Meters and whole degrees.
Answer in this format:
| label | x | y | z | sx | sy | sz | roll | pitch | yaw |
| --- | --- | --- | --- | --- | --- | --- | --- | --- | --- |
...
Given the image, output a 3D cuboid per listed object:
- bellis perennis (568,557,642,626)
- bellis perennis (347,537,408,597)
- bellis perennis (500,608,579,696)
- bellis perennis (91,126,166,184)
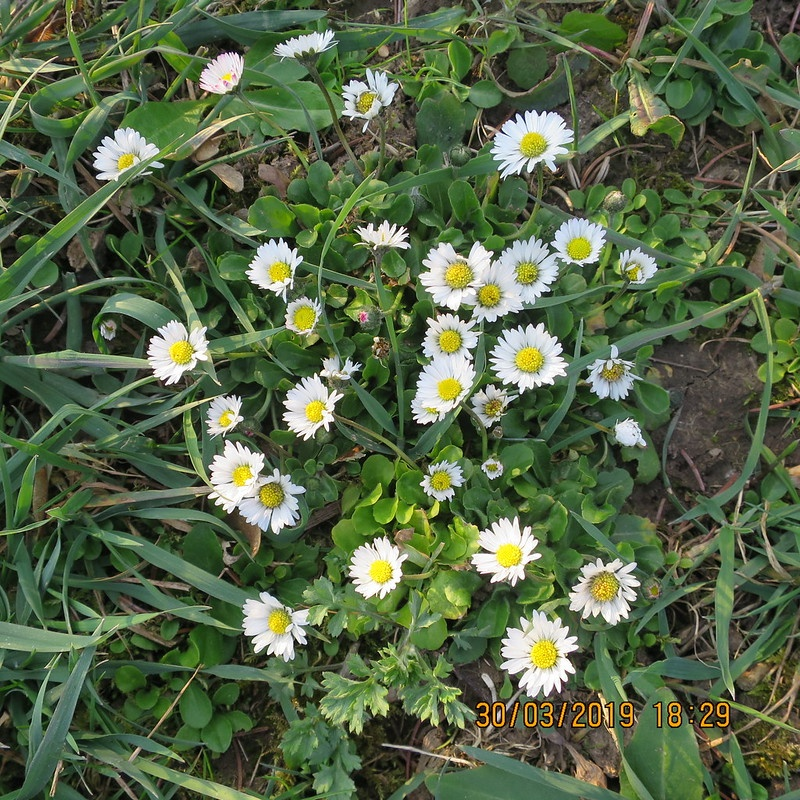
| label | x | y | z | sx | sy | sz | roll | pitch | yaw |
| --- | --- | --- | --- | --- | --- | --- | --- | --- | --- |
| bellis perennis | 0.648 | 0.598 | 2.352 | 0.213 | 0.084 | 0.197 | -13 | 28 | 22 |
| bellis perennis | -0.045 | 0.536 | 2.414 | 0.221 | 0.085 | 0.180 | 4 | 75 | 32 |
| bellis perennis | 0.421 | 0.762 | 2.266 | 0.228 | 0.106 | 0.215 | -38 | 84 | -2 |
| bellis perennis | -0.949 | -0.843 | 2.647 | 0.256 | 0.093 | 0.216 | -18 | 83 | 0 |
